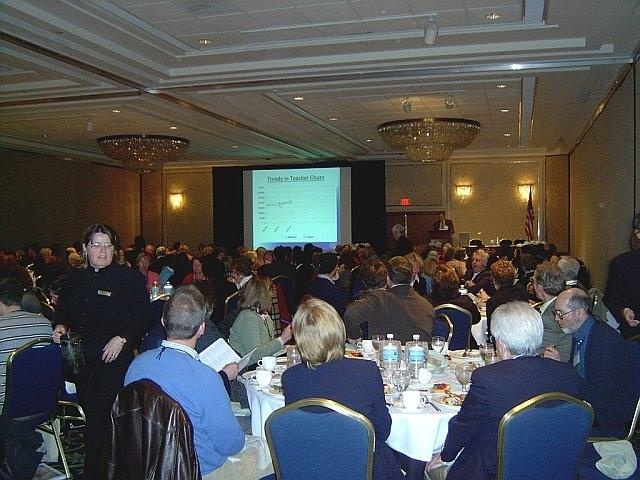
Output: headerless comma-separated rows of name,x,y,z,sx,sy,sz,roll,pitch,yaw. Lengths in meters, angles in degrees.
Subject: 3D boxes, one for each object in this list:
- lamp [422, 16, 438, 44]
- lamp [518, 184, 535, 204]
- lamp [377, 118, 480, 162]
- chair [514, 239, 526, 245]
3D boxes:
lamp,1.252,-2.388,5.221,0.172,0.313,0.114,1,-7,-6
lamp,6.736,-1.531,15.194,0.545,0.574,0.520,-2,-2,33
lamp,2.276,-2.196,9.882,1.265,0.457,1.293,1,3,37
chair,6.096,0.072,14.075,0.197,0.145,0.196,0,-1,-12
